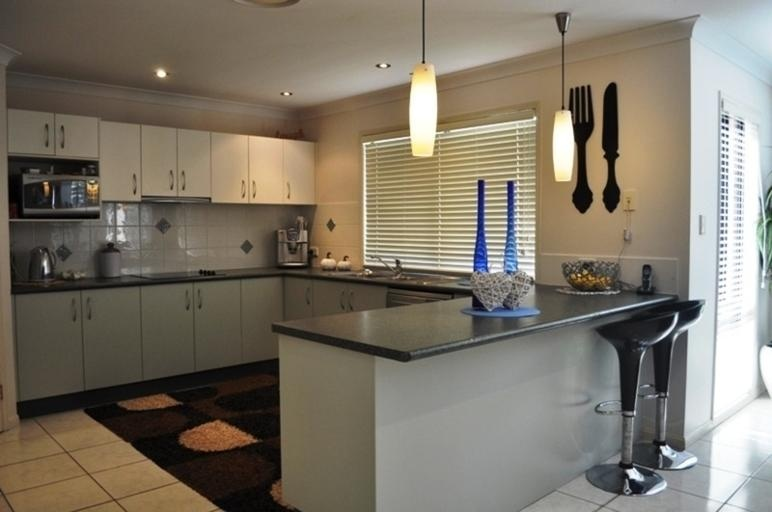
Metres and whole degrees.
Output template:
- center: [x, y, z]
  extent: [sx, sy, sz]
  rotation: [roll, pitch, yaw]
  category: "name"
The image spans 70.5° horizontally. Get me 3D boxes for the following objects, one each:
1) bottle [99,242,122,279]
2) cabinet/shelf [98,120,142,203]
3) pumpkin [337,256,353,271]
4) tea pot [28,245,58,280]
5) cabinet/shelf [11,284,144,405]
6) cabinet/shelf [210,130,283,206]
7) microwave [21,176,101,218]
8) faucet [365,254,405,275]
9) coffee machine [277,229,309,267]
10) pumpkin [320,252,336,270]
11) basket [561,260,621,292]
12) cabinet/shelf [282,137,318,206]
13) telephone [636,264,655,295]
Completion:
- center: [-2.860, 0.058, 5.635]
  extent: [0.238, 0.336, 0.358]
  rotation: [-7, 13, -27]
  category: "bottle"
- center: [-2.677, -0.949, 5.528]
  extent: [0.428, 0.785, 0.156]
  rotation: [-6, 13, -26]
  category: "cabinet/shelf"
- center: [-0.500, 0.097, 6.438]
  extent: [0.160, 0.214, 0.164]
  rotation: [-2, -2, 38]
  category: "pumpkin"
- center: [-3.260, 0.087, 5.158]
  extent: [0.243, 0.334, 0.306]
  rotation: [-3, -4, 37]
  category: "tea pot"
- center: [-2.892, 0.823, 5.020]
  extent: [1.150, 1.008, 0.436]
  rotation: [-1, -1, -35]
  category: "cabinet/shelf"
- center: [-1.617, -0.987, 6.243]
  extent: [0.899, 0.809, 0.377]
  rotation: [-1, 1, -33]
  category: "cabinet/shelf"
- center: [-3.084, -0.552, 5.164]
  extent: [0.602, 0.390, 0.379]
  rotation: [-1, 1, -38]
  category: "microwave"
- center: [0.031, 0.107, 6.083]
  extent: [0.119, 0.288, 0.633]
  rotation: [-3, 10, -42]
  category: "faucet"
- center: [-1.262, -0.088, 6.716]
  extent: [0.396, 0.539, 0.429]
  rotation: [0, -1, -24]
  category: "coffee machine"
- center: [-0.680, 0.074, 6.574]
  extent: [0.201, 0.280, 0.206]
  rotation: [-1, 1, 19]
  category: "pumpkin"
- center: [1.655, 0.163, 4.491]
  extent: [0.311, 0.171, 0.310]
  rotation: [0, 0, -24]
  category: "basket"
- center: [-1.054, -1.010, 6.622]
  extent: [0.132, 0.764, 0.467]
  rotation: [10, 16, 42]
  category: "cabinet/shelf"
- center: [2.119, 0.200, 4.405]
  extent: [0.131, 0.245, 0.078]
  rotation: [1, -6, 17]
  category: "telephone"
